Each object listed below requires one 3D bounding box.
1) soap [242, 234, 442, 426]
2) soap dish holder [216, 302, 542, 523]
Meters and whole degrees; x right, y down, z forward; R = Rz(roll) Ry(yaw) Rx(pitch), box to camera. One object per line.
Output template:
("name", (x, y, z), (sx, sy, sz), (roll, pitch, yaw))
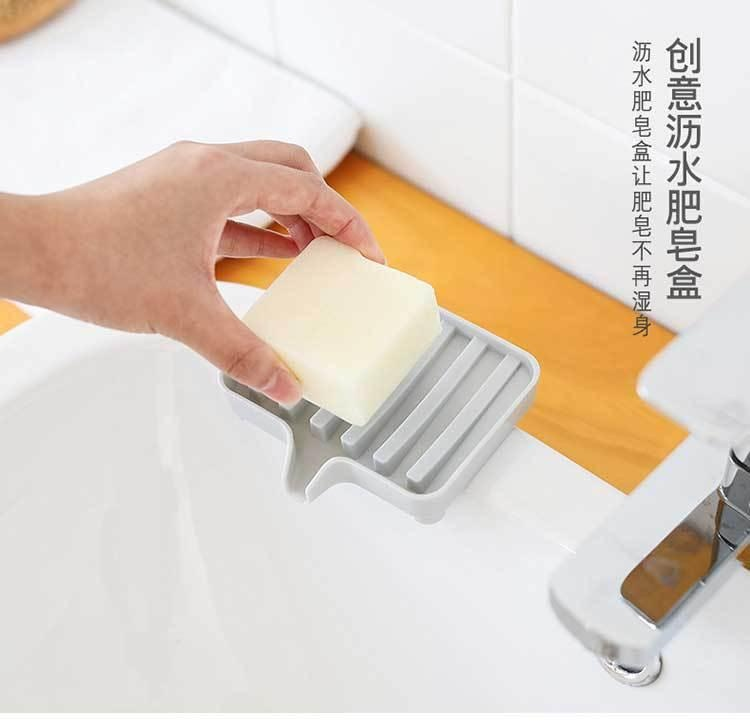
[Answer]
("soap", (-0.022, -0.026, 0.482), (0.113, 0.049, 0.115), (30, 68, 14))
("soap dish holder", (0.024, 0.049, 0.515), (0.168, 0.042, 0.155), (27, 66, 23))
